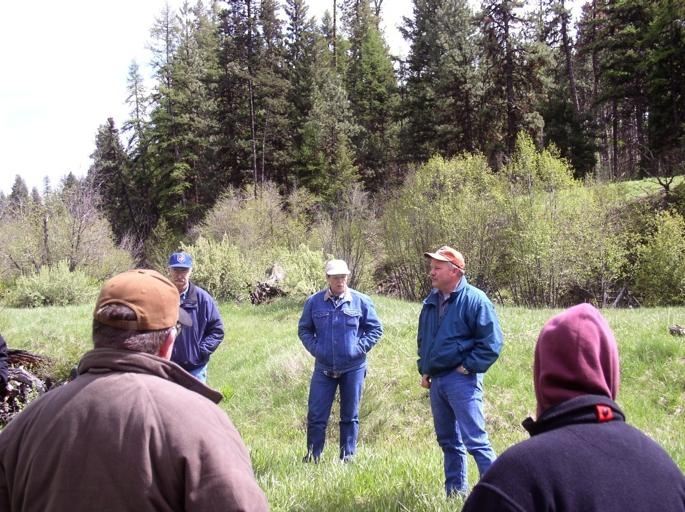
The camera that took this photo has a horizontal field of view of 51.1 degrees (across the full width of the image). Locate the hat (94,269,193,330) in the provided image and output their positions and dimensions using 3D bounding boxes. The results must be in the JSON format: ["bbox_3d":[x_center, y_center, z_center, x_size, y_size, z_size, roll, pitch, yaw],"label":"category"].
[{"bbox_3d":[-3.320,0.707,11.892,0.806,0.822,1.245,9,6,26],"label":"hat"}]
